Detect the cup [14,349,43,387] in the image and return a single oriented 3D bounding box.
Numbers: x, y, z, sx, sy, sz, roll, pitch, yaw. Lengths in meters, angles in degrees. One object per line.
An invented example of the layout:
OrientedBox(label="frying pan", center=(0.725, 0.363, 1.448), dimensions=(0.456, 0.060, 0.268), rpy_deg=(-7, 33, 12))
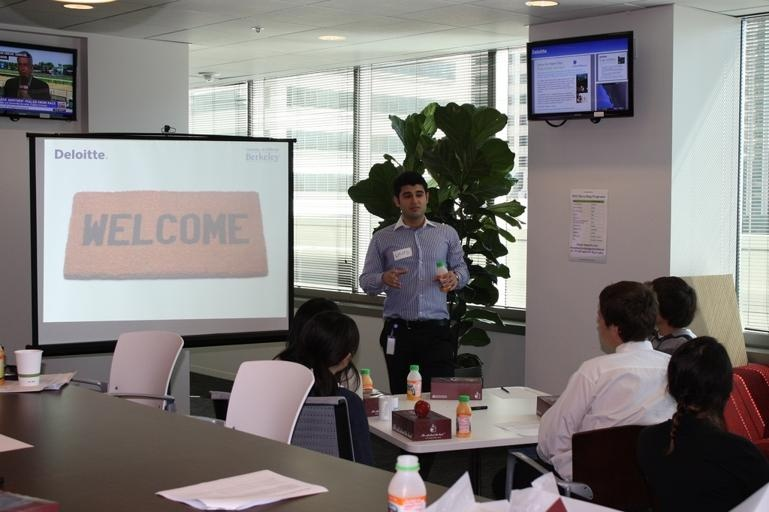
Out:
OrientedBox(label="cup", center=(-1.864, 0.601, 2.821), dimensions=(0.178, 0.194, 0.174), rpy_deg=(-2, -10, 0))

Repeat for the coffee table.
OrientedBox(label="coffee table", center=(0.491, 0.909, 3.026), dimensions=(0.831, 0.482, 0.811), rpy_deg=(-1, 2, -25))

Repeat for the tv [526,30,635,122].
OrientedBox(label="tv", center=(1.680, -1.512, 4.444), dimensions=(0.900, 0.641, 0.123), rpy_deg=(0, 2, 33))

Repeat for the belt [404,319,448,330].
OrientedBox(label="belt", center=(0.348, 0.538, 4.189), dimensions=(0.355, 0.083, 0.090), rpy_deg=(5, -5, -19))

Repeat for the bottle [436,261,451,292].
OrientedBox(label="bottle", center=(0.446, 0.110, 4.124), dimensions=(0.089, 0.187, 0.334), rpy_deg=(3, -4, 5))

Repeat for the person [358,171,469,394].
OrientedBox(label="person", center=(0.235, 0.225, 4.263), dimensions=(0.865, 1.744, 0.340), rpy_deg=(4, -5, -3))
